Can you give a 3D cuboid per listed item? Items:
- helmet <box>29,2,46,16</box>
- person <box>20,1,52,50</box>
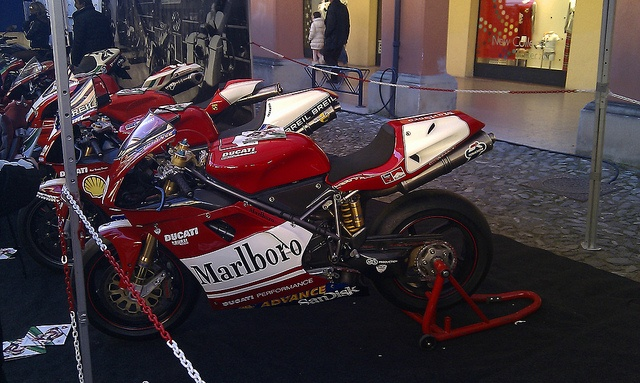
[{"bbox_3d":[-5.306,-3.432,9.237,0.244,0.270,0.310,-4,44,-34],"label":"helmet"},{"bbox_3d":[-5.362,-3.133,9.277,0.440,0.859,0.568,-9,20,-28],"label":"person"}]
